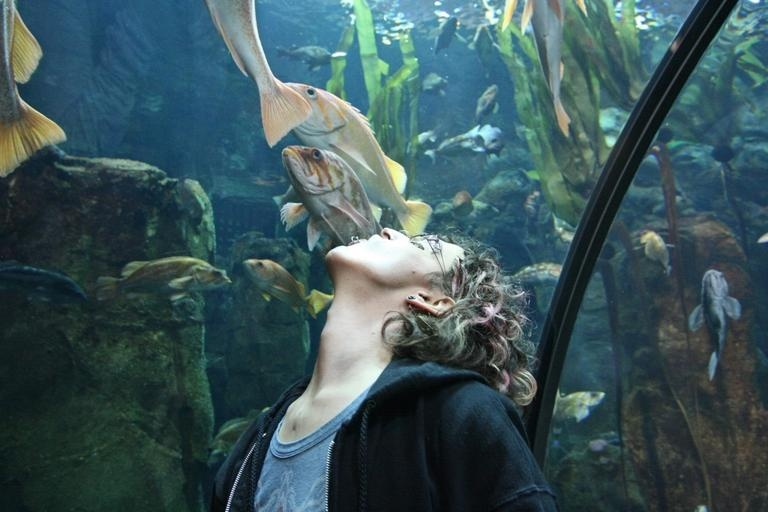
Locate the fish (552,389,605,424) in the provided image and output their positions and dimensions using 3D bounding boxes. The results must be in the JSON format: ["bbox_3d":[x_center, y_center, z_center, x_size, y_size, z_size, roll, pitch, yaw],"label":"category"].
[{"bbox_3d":[1.546,1.196,6.161,0.376,0.255,0.095,1,-6,16],"label":"fish"}]

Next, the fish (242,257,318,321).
[{"bbox_3d":[-0.753,0.252,5.690,0.747,0.297,0.199,36,-18,-32],"label":"fish"}]

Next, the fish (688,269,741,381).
[{"bbox_3d":[2.376,0.469,5.578,0.366,0.350,0.876,-11,-49,21],"label":"fish"}]

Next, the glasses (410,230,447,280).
[{"bbox_3d":[0.268,-0.013,4.719,0.207,0.227,0.067,14,38,33],"label":"glasses"}]

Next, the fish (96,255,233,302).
[{"bbox_3d":[-1.473,0.126,5.386,1.012,0.397,0.239,-3,10,-25],"label":"fish"}]
